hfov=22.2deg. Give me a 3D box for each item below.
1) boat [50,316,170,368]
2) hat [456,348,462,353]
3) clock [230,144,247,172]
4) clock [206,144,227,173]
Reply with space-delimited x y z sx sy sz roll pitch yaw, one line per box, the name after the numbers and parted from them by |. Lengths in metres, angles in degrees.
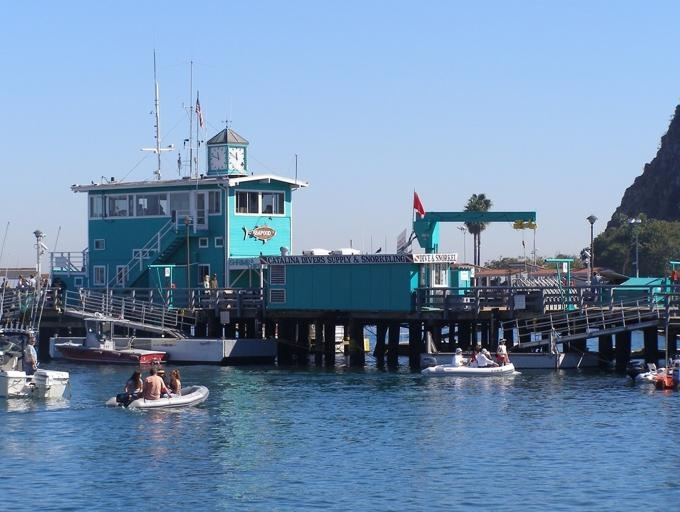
-12.830 4.804 99.561 5.992 2.447 2.879 -1 0 25 | boat
6.529 5.091 93.821 0.371 0.342 0.285 -5 11 8 | hat
-6.218 -6.029 107.456 0.248 1.656 1.218 -7 -9 43 | clock
-7.521 -6.039 107.664 0.371 1.862 1.613 5 -8 -35 | clock
